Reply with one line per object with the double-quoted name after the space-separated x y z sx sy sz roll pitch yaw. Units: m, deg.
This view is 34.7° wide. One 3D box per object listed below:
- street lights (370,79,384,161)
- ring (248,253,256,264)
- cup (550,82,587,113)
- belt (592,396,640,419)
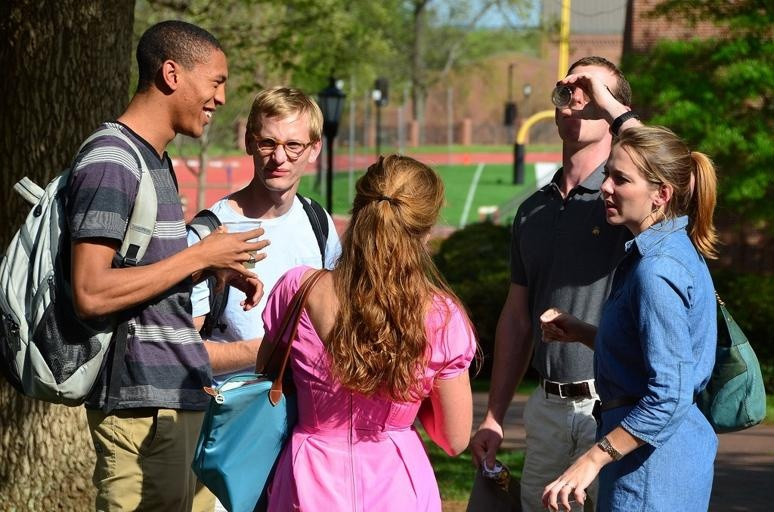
-0.246 -3.082 28.468 0.292 1.605 0.273 -3 1 -36 "street lights"
-0.867 0.022 7.938 0.027 0.066 0.045 7 8 -21 "ring"
1.205 -1.061 8.298 0.183 0.188 0.164 1 3 3 "cup"
1.401 0.908 7.596 0.177 0.076 0.163 -5 -2 24 "belt"
